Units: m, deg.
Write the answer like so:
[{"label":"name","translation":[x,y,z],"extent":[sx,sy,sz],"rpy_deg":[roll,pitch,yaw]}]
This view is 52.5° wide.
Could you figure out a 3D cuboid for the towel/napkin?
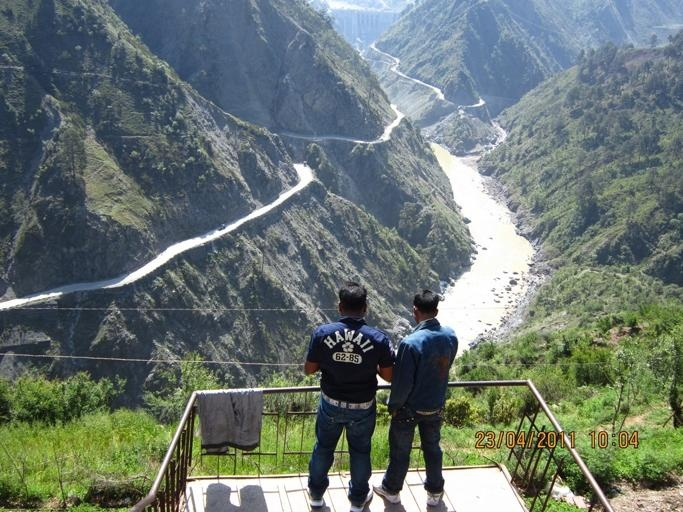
[{"label":"towel/napkin","translation":[-7.384,10.824,45.436],"extent":[4.073,4.485,0.708],"rpy_deg":[0,3,-3]}]
